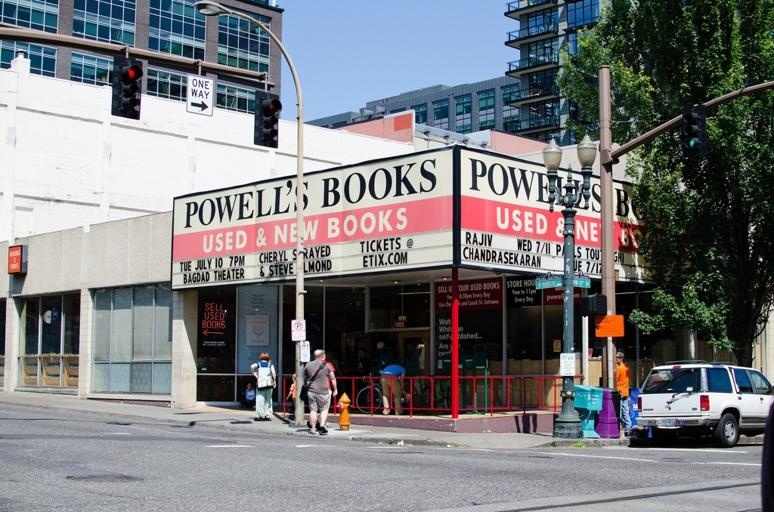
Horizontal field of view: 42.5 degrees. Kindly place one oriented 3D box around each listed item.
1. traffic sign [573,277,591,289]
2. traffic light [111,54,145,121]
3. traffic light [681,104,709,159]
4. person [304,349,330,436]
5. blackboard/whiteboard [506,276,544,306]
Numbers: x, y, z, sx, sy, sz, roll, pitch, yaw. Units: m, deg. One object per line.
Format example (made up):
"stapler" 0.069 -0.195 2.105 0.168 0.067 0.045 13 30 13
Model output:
"traffic sign" 5.987 0.818 31.144 0.535 0.437 0.789 7 -5 -40
"traffic light" -7.831 -5.040 30.061 0.927 2.461 1.106 1 0 -2
"traffic light" 9.015 -3.687 29.152 0.747 1.579 0.405 -6 -11 28
"person" -2.149 4.161 30.707 0.905 2.583 1.077 0 -1 -4
"blackboard/whiteboard" 4.926 1.267 35.194 1.013 0.892 0.146 -3 -5 29
